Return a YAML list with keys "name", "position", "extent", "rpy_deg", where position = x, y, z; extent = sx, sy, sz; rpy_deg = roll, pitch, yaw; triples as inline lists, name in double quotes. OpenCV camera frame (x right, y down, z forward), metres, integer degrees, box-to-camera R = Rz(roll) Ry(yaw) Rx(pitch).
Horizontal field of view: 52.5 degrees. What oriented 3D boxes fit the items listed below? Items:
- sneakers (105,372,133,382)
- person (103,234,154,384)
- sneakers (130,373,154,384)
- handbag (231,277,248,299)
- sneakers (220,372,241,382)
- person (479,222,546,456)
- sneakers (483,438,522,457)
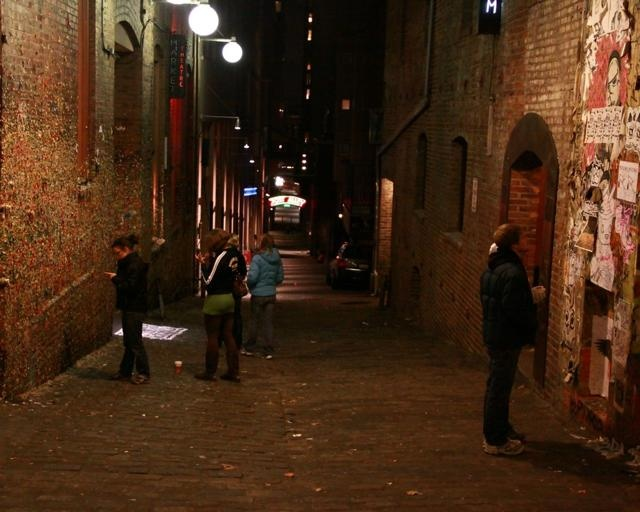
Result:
- name: "sneakers"
  position: [-2.574, 1.582, 8.363]
  extent: [0.269, 0.138, 0.125]
  rpy_deg: [10, -1, -5]
- name: "person"
  position: [-2.408, 0.678, 8.184]
  extent: [0.447, 1.887, 0.514]
  rpy_deg: [1, 1, -4]
- name: "sneakers"
  position: [-2.299, 1.596, 8.328]
  extent: [0.084, 0.122, 0.210]
  rpy_deg: [-22, -17, 24]
- name: "handbag"
  position: [-1.131, 0.443, 9.101]
  extent: [0.132, 0.418, 0.388]
  rpy_deg: [-1, -1, 13]
- name: "sneakers"
  position: [-1.199, 1.630, 8.743]
  extent: [0.278, 0.133, 0.100]
  rpy_deg: [16, 15, 36]
- name: "person"
  position: [1.701, 0.763, 5.832]
  extent: [0.533, 1.753, 0.531]
  rpy_deg: [1, 1, 21]
- name: "sneakers"
  position: [1.656, 1.750, 5.881]
  extent: [0.271, 0.151, 0.144]
  rpy_deg: [-6, 9, 7]
